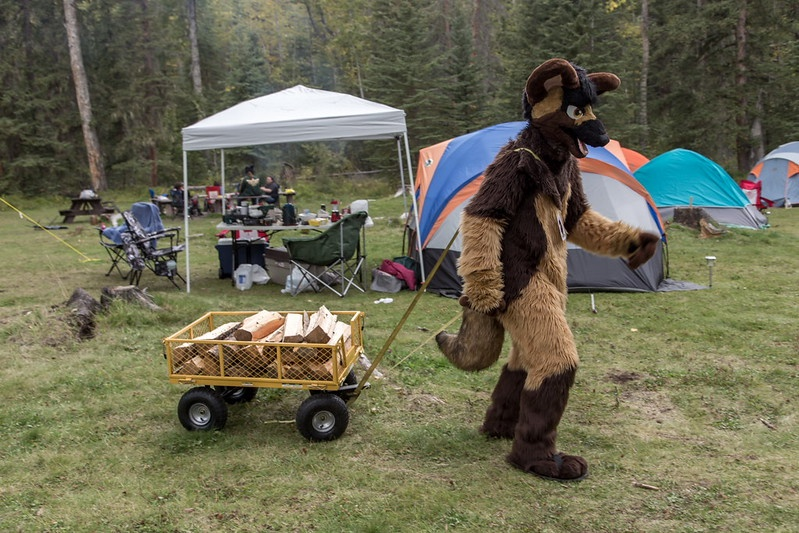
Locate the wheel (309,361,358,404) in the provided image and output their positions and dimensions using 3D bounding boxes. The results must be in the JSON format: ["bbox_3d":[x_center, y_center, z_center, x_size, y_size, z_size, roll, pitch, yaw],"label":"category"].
[{"bbox_3d":[-0.966,1.707,10.982,0.545,0.446,0.614,-7,4,12],"label":"wheel"}]

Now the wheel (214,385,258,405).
[{"bbox_3d":[-2.448,1.950,11.300,0.433,0.119,0.417,-3,-17,-1],"label":"wheel"}]

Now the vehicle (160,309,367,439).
[{"bbox_3d":[-1.931,1.532,11.439,2.858,1.438,1.916,0,7,6],"label":"vehicle"}]

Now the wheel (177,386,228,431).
[{"bbox_3d":[-2.888,2.085,10.813,0.809,0.645,0.253,-1,7,3],"label":"wheel"}]

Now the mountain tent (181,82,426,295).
[{"bbox_3d":[-2.211,-1.882,16.908,5.497,3.801,4.595,-2,9,5],"label":"mountain tent"}]

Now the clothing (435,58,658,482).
[{"bbox_3d":[1.951,-0.037,10.555,2.352,5.678,1.586,-12,16,-38],"label":"clothing"}]

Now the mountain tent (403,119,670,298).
[{"bbox_3d":[2.599,-1.220,16.391,4.652,2.467,4.157,-1,8,1],"label":"mountain tent"}]

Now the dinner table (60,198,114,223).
[{"bbox_3d":[-9.777,-1.779,23.149,1.280,0.517,1.196,0,3,-3],"label":"dinner table"}]

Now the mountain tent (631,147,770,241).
[{"bbox_3d":[7.980,-1.956,19.837,3.208,1.223,2.586,3,18,14],"label":"mountain tent"}]

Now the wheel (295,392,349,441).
[{"bbox_3d":[-1.120,2.191,10.715,0.725,0.590,0.272,-11,8,-3],"label":"wheel"}]
